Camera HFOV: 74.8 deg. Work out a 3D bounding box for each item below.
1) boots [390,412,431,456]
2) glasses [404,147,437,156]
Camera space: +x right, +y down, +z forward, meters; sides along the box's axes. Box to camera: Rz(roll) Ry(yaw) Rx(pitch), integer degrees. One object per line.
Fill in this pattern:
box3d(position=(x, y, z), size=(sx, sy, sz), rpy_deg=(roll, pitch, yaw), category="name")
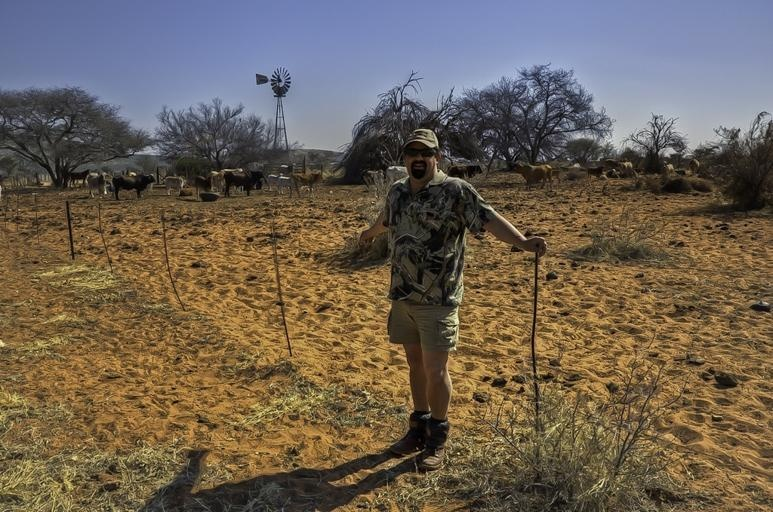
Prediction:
box3d(position=(0.214, 1.627, 4.636), size=(0.479, 0.295, 0.160), rpy_deg=(0, -4, -37), category="boots")
box3d(position=(0.300, -0.874, 4.250), size=(0.282, 0.087, 0.087), rpy_deg=(0, 12, 1), category="glasses")
